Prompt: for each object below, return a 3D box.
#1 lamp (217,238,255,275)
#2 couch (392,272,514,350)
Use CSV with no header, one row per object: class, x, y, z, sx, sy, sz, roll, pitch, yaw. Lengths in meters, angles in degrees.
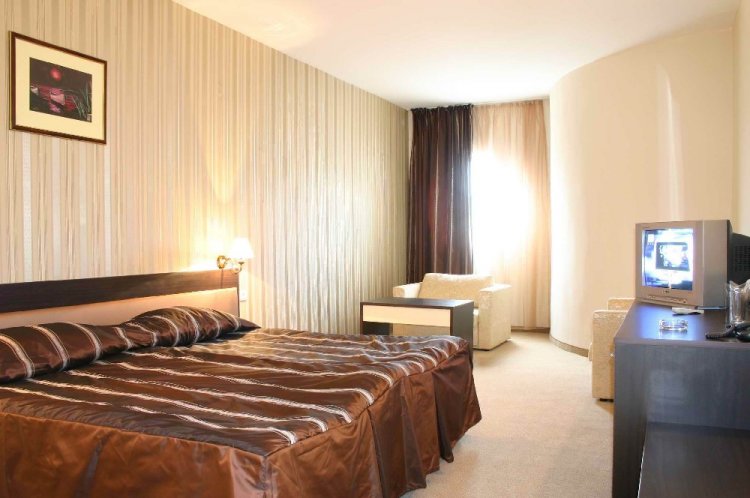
lamp,-1.297,0.051,5.000,0.423,0.349,0.260,-3,1,29
couch,0.981,0.655,6.644,1.432,0.911,0.974,-1,-3,27
